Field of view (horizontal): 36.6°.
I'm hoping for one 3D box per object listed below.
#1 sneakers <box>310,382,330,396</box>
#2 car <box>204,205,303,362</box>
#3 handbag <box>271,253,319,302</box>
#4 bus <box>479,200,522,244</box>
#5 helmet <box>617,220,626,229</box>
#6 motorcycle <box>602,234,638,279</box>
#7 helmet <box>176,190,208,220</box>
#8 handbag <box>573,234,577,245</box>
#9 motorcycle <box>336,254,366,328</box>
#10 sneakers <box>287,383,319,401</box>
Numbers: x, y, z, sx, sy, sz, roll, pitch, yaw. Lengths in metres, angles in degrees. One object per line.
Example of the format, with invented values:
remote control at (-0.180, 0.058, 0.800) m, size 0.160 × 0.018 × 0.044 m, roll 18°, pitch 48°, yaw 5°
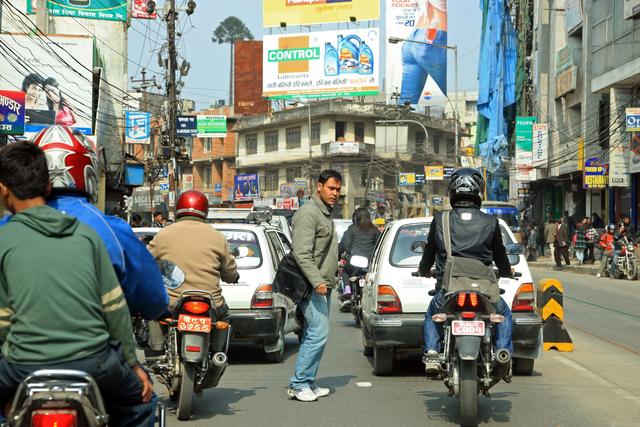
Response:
sneakers at (-0.035, 2.849, 15.699) m, size 0.348 × 0.173 × 0.141 m, roll -2°, pitch 2°, yaw 30°
car at (-1.700, 1.168, 19.467) m, size 2.383 × 2.783 × 4.764 m, roll -2°, pitch 5°, yaw 5°
handbag at (-0.377, 1.033, 15.590) m, size 0.599 × 0.817 × 0.439 m, roll 17°, pitch 17°, yaw 20°
bus at (6.108, 0.064, 32.326) m, size 1.652 × 1.663 × 2.643 m, roll 0°, pitch 0°, yaw 4°
helmet at (9.227, 0.297, 29.869) m, size 0.228 × 0.301 × 0.292 m, roll 4°, pitch -6°, yaw 17°
motorcycle at (9.407, 1.435, 30.023) m, size 0.422 × 1.186 × 1.391 m, roll -2°, pitch 1°, yaw -19°
helmet at (-2.026, -0.162, 15.429) m, size 0.486 × 0.562 × 0.613 m, roll 5°, pitch -1°, yaw -14°
handbag at (9.525, 0.944, 36.553) m, size 0.090 × 0.377 × 0.273 m, roll 13°, pitch -4°, yaw 8°
motorcycle at (0.740, 1.507, 21.024) m, size 0.680 × 1.096 × 1.788 m, roll 6°, pitch 23°, yaw -8°
sneakers at (-0.276, 2.865, 15.561) m, size 0.455 × 0.224 × 0.201 m, roll 0°, pitch 3°, yaw 19°
